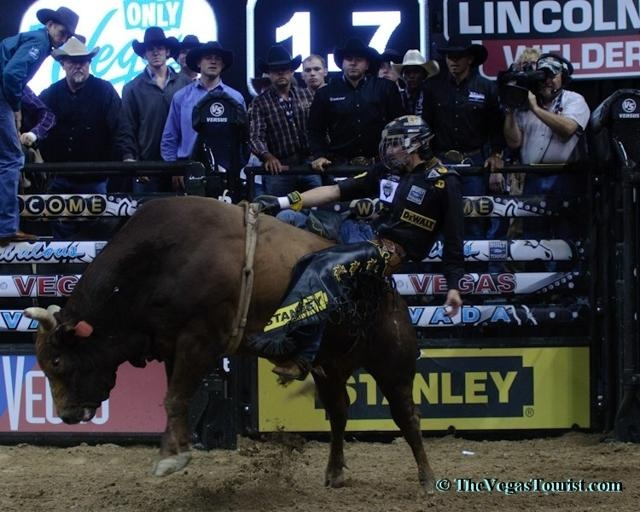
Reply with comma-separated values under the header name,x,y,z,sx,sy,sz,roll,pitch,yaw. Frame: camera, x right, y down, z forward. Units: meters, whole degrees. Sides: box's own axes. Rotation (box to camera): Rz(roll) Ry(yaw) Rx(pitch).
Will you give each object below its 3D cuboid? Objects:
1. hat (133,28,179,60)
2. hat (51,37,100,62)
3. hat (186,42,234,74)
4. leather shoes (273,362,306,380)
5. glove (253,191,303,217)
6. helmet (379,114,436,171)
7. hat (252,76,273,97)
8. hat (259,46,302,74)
name,x,y,z,sx,sy,sz,roll,pitch,yaw
hat,-1.683,-2.187,13.102,0.382,0.135,0.336,-10,-13,-2
hat,-2.436,-2.042,12.715,0.403,0.167,0.432,-2,-5,-17
hat,-1.107,-1.962,12.707,0.371,0.144,0.401,2,-20,-12
leather shoes,-0.226,0.879,9.724,0.284,0.137,0.136,-3,12,-15
glove,-0.320,-0.417,10.312,0.287,0.107,0.184,-8,39,-20
helmet,0.685,-0.926,10.399,0.473,0.420,0.371,2,4,-1
hat,-0.590,-1.784,13.290,0.221,0.178,0.247,-12,36,8
hat,-0.405,-1.935,12.693,0.375,0.148,0.394,-1,-15,-2
